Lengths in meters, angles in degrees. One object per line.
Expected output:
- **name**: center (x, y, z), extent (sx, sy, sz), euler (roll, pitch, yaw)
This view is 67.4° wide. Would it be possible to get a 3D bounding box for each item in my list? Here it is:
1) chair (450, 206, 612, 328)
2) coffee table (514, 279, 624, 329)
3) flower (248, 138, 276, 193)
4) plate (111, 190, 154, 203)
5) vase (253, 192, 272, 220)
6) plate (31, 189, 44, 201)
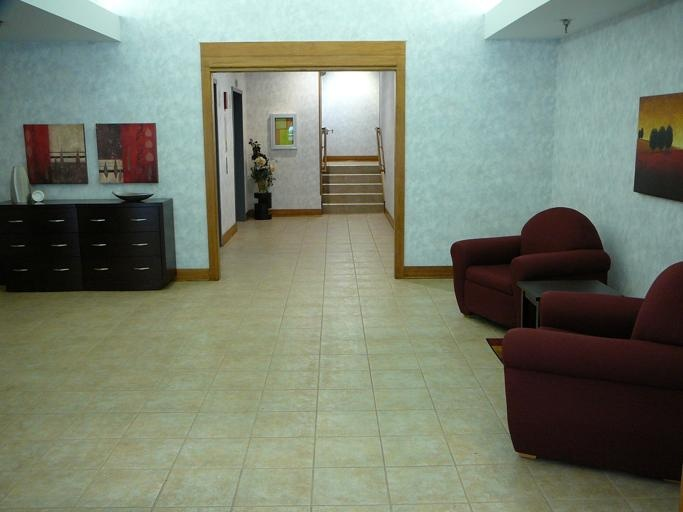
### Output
- **chair**: center (1.972, 0.079, 5.427), extent (1.129, 1.056, 1.154), euler (-11, 15, -23)
- **coffee table**: center (1.956, 0.301, 4.531), extent (0.625, 0.535, 0.590), euler (-1, 13, 1)
- **flower**: center (-1.866, -2.152, 12.132), extent (0.573, 1.237, 0.718), euler (-3, 13, -9)
- **plate**: center (-2.678, -0.767, 6.602), extent (0.339, 0.095, 0.267), euler (0, 2, -8)
- **vase**: center (-1.837, -1.200, 12.039), extent (0.391, 0.624, 0.424), euler (-4, 13, -12)
- **plate**: center (-3.931, -0.780, 6.675), extent (0.174, 0.156, 0.051), euler (6, -6, -19)
